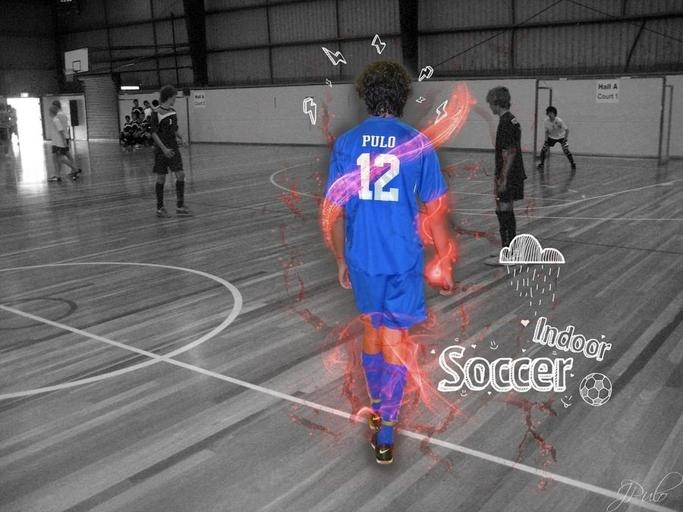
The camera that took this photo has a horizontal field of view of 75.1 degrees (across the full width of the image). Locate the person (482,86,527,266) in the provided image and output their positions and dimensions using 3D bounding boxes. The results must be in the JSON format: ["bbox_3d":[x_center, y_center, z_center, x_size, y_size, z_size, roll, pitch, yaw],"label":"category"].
[{"bbox_3d":[1.974,-1.005,5.396,0.422,1.964,0.500,7,17,33],"label":"person"}]

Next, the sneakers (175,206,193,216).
[{"bbox_3d":[-3.139,-0.890,8.874,0.386,0.179,0.140,4,31,7],"label":"sneakers"}]

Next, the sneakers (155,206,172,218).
[{"bbox_3d":[-3.455,-0.853,8.650,0.410,0.187,0.145,10,16,42],"label":"sneakers"}]

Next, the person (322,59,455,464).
[{"bbox_3d":[0.250,0.027,2.420,0.536,2.067,0.524,-12,17,-34],"label":"person"}]
